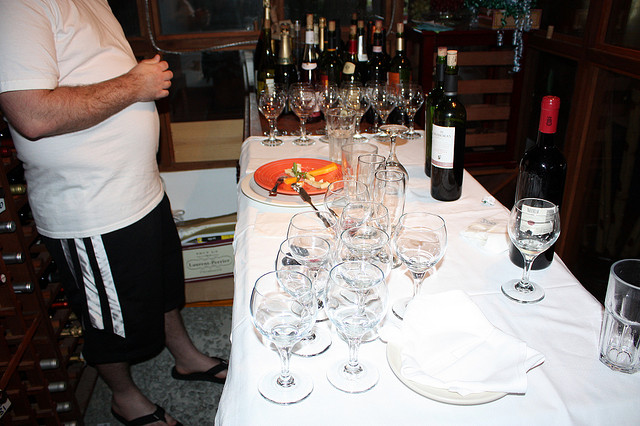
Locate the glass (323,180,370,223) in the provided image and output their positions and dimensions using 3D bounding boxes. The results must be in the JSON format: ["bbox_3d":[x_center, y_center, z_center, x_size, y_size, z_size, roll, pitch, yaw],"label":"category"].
[{"bbox_3d":[0.097,-0.016,1.591,0.154,0.159,0.155,0,48,-1],"label":"glass"}]

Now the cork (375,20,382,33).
[{"bbox_3d":[0.302,-0.982,2.397,0.029,0.055,0.055,-2,26,2],"label":"cork"}]

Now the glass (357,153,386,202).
[{"bbox_3d":[0.179,-0.124,1.628,0.107,0.187,0.115,-7,25,-10],"label":"glass"}]

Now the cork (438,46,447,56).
[{"bbox_3d":[0.444,-0.590,1.663,0.034,0.036,0.037,7,21,23],"label":"cork"}]

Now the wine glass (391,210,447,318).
[{"bbox_3d":[0.286,0.155,1.335,0.148,0.296,0.146,21,37,33],"label":"wine glass"}]

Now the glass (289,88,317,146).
[{"bbox_3d":[-0.081,-0.481,2.275,0.182,0.248,0.186,-2,4,-5],"label":"glass"}]

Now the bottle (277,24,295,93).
[{"bbox_3d":[-0.191,-0.868,2.523,0.093,0.335,0.146,-3,26,-2],"label":"bottle"}]

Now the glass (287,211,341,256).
[{"bbox_3d":[0.000,0.063,1.448,0.139,0.143,0.142,-9,18,-16],"label":"glass"}]

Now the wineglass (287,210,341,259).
[{"bbox_3d":[-0.040,0.066,1.413,0.121,0.123,0.124,-5,24,-12],"label":"wineglass"}]

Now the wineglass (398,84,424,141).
[{"bbox_3d":[0.438,-0.499,2.217,0.123,0.252,0.123,9,20,31],"label":"wineglass"}]

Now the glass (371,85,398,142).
[{"bbox_3d":[0.315,-0.505,2.256,0.144,0.265,0.143,8,26,24],"label":"glass"}]

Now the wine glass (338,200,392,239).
[{"bbox_3d":[0.141,0.003,1.420,0.119,0.121,0.123,-4,33,-2],"label":"wine glass"}]

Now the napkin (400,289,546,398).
[{"bbox_3d":[0.368,0.326,1.181,0.309,0.124,0.241,3,27,11],"label":"napkin"}]

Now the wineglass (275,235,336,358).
[{"bbox_3d":[-0.039,0.233,1.223,0.155,0.293,0.160,10,34,16],"label":"wineglass"}]

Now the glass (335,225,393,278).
[{"bbox_3d":[0.136,0.089,1.395,0.145,0.137,0.150,-3,31,-5],"label":"glass"}]

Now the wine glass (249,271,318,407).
[{"bbox_3d":[-0.091,0.306,1.172,0.161,0.243,0.248,-5,26,-6],"label":"wine glass"}]

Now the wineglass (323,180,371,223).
[{"bbox_3d":[0.090,-0.065,1.547,0.135,0.138,0.140,-3,23,-5],"label":"wineglass"}]

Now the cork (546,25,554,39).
[{"bbox_3d":[1.480,-1.173,2.954,0.036,0.081,0.044,10,28,23],"label":"cork"}]

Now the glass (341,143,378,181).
[{"bbox_3d":[0.136,-0.218,1.817,0.138,0.169,0.160,0,24,-1],"label":"glass"}]

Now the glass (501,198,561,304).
[{"bbox_3d":[0.631,0.102,1.385,0.136,0.308,0.134,7,16,19],"label":"glass"}]

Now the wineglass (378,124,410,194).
[{"bbox_3d":[0.302,-0.218,1.906,0.127,0.290,0.140,10,-12,-32],"label":"wineglass"}]

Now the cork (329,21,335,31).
[{"bbox_3d":[0.063,-0.991,2.412,0.024,0.049,0.052,7,28,19],"label":"cork"}]

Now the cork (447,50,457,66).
[{"bbox_3d":[0.449,-0.535,1.572,0.025,0.045,0.033,-4,26,-3],"label":"cork"}]

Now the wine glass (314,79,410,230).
[{"bbox_3d":[0.207,-0.317,1.931,0.299,0.356,0.994,-2,30,-2],"label":"wine glass"}]

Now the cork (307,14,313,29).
[{"bbox_3d":[-0.054,-1.017,2.422,0.026,0.068,0.032,-5,26,-6],"label":"cork"}]

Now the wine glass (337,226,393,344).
[{"bbox_3d":[0.117,0.195,1.221,0.137,0.297,0.151,29,51,30],"label":"wine glass"}]

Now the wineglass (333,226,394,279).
[{"bbox_3d":[0.124,0.095,1.335,0.145,0.142,0.150,-3,29,-6],"label":"wineglass"}]

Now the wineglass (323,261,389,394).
[{"bbox_3d":[0.093,0.278,1.183,0.155,0.251,0.239,0,26,4],"label":"wineglass"}]
